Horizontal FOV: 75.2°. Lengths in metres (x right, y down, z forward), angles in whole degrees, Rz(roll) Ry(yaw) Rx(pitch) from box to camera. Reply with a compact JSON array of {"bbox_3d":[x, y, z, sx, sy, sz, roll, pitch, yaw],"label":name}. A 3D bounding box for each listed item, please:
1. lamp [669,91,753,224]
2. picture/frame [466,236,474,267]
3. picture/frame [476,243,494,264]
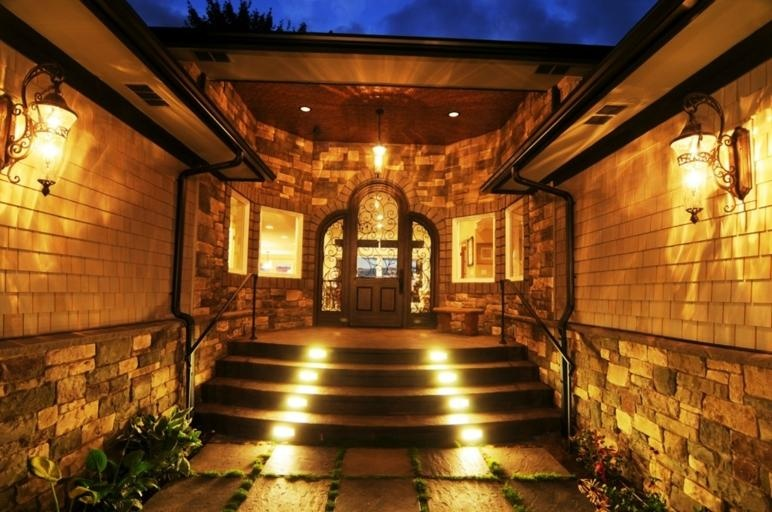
[{"bbox_3d":[2.836,-0.831,4.337,0.623,1.121,0.528,9,16,34],"label":"lamp"},{"bbox_3d":[1.613,-0.092,9.434,0.136,0.542,0.229,1,13,4],"label":"picture/frame"},{"bbox_3d":[1.846,-0.050,9.328,0.372,0.342,0.253,2,-1,21],"label":"picture/frame"}]
